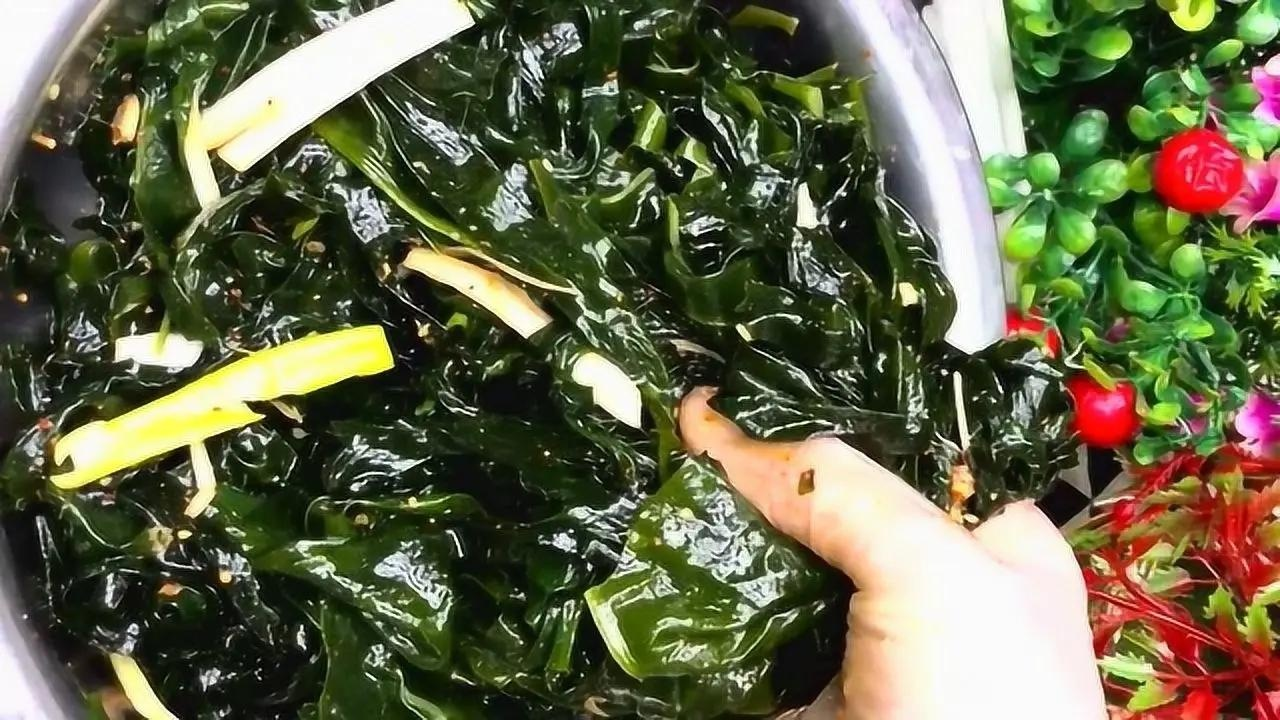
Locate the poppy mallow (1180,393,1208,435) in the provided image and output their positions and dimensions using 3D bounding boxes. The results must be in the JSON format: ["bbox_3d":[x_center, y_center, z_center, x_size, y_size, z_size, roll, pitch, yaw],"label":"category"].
[{"bbox_3d":[0.832,0.084,1.835,0.025,0.060,0.037,-7,16,6],"label":"poppy mallow"}]
